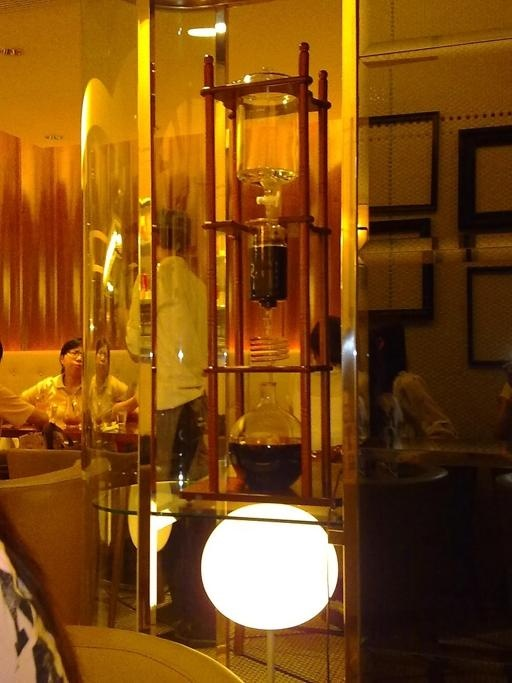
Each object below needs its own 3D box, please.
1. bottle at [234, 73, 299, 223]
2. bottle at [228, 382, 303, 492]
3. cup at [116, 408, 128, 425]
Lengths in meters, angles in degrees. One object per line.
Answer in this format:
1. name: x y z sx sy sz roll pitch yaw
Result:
1. bottle: 0.022 -0.401 1.492 0.130 0.258 0.134 0 6 0
2. bottle: -0.016 0.206 1.409 0.152 0.241 0.165 0 -8 0
3. cup: -0.344 0.192 1.755 0.030 0.058 0.033 1 -10 4
